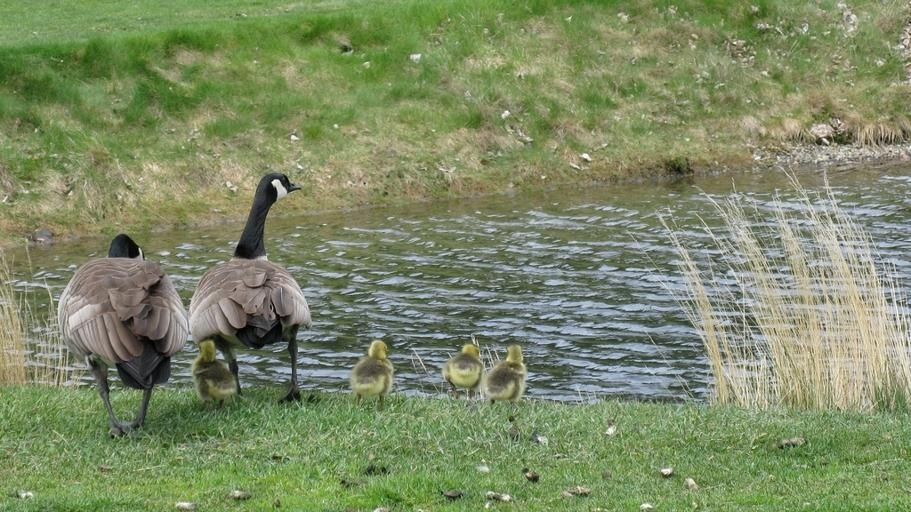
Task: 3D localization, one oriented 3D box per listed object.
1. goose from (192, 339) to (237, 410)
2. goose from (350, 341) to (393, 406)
[{"bbox_3d":[-7.283,3.502,50.917,1.271,2.014,0.440,1,4,-2],"label":"goose"},{"bbox_3d":[-2.560,3.439,51.750,1.439,1.478,2.193,10,9,9],"label":"goose"}]
